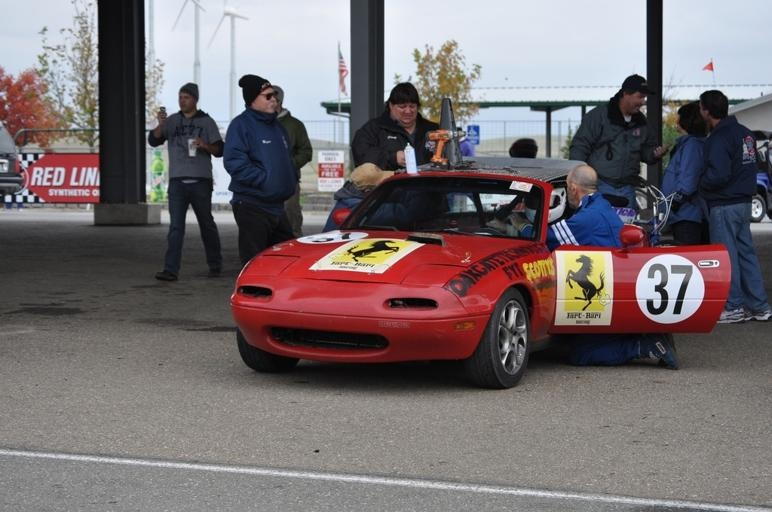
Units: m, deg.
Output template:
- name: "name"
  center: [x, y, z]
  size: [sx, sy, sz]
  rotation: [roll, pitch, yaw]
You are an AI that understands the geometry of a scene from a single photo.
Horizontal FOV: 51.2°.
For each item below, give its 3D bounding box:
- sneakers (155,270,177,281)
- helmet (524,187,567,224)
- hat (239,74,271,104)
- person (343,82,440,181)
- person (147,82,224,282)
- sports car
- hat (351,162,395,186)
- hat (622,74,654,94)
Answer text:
- name: "sneakers"
  center: [-3.209, 0.285, 11.789]
  size: [0.313, 0.135, 0.130]
  rotation: [7, 1, -26]
- name: "helmet"
  center: [1.633, -0.529, 7.836]
  size: [0.519, 0.273, 0.348]
  rotation: [-22, 26, -33]
- name: "hat"
  center: [-1.368, -1.750, 8.434]
  size: [0.322, 0.325, 0.197]
  rotation: [-2, 9, -19]
- name: "person"
  center: [0.210, -1.363, 8.887]
  size: [1.203, 1.012, 0.709]
  rotation: [-1, 8, -29]
- name: "person"
  center: [-2.903, -1.103, 11.875]
  size: [1.093, 2.925, 1.054]
  rotation: [-6, 11, -40]
- name: "sports car"
  center: [0.782, 0.156, 6.715]
  size: [2.431, 0.921, 2.701]
  rotation: [-1, -2, 33]
- name: "hat"
  center: [-0.136, -0.846, 8.460]
  size: [0.369, 0.161, 0.278]
  rotation: [-2, -2, -13]
- name: "hat"
  center: [3.093, -2.109, 9.878]
  size: [0.372, 0.209, 0.259]
  rotation: [5, 12, 16]
